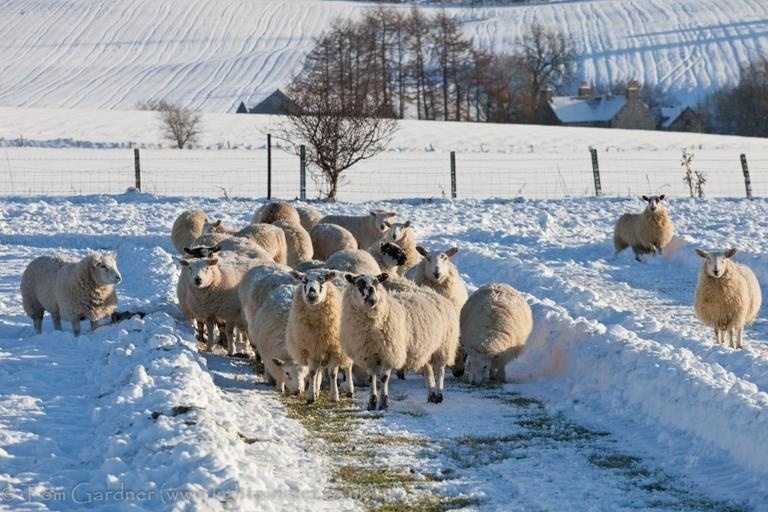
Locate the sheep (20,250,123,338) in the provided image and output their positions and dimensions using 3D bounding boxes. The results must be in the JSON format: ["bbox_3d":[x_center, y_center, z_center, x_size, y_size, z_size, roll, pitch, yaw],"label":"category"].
[{"bbox_3d":[-15.180,1.910,62.287,4.637,3.855,1.437,-2,8,15],"label":"sheep"}]
